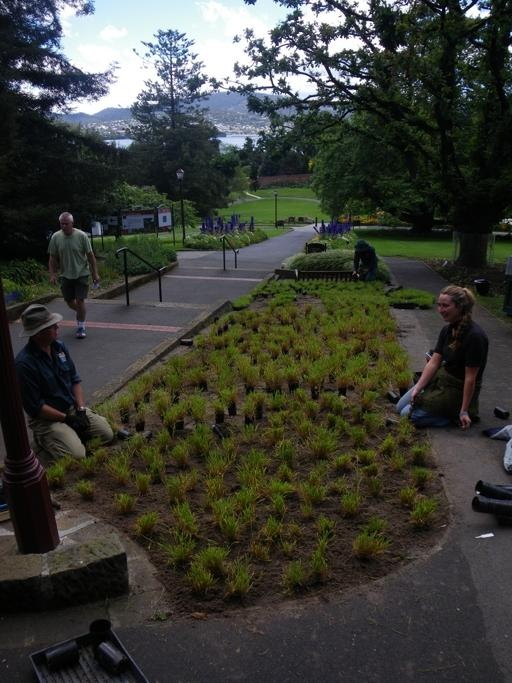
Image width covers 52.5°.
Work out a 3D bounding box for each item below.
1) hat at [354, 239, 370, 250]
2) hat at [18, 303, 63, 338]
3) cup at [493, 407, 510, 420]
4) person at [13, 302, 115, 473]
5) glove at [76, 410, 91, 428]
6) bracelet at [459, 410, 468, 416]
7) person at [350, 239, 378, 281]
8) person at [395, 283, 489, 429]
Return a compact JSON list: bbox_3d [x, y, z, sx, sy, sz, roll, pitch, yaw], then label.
[{"bbox_3d":[2.914,-2.651,14.296,0.277,0.314,0.448,5,15,26],"label":"hat"},{"bbox_3d":[-1.838,-0.159,4.462,0.309,0.153,0.279,-26,30,-13],"label":"hat"},{"bbox_3d":[2.549,0.741,5.382,0.161,0.099,0.209,5,15,25],"label":"cup"},{"bbox_3d":[-1.761,0.355,4.571,0.626,1.339,0.758,2,14,17],"label":"person"},{"bbox_3d":[-1.545,0.698,4.661,0.101,0.167,0.060,-11,-20,-24],"label":"glove"},{"bbox_3d":[1.933,0.671,4.839,0.070,0.050,0.072,9,17,38],"label":"bracelet"},{"bbox_3d":[3.146,-2.339,14.875,0.698,1.158,1.458,1,14,12],"label":"person"},{"bbox_3d":[1.825,0.164,5.056,0.761,1.379,0.653,4,15,23],"label":"person"}]
